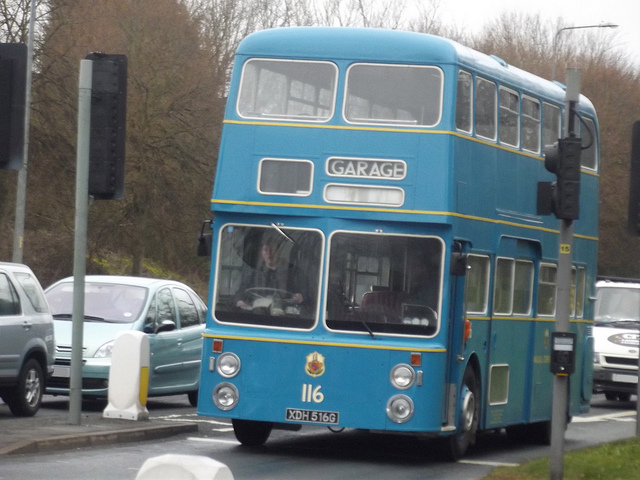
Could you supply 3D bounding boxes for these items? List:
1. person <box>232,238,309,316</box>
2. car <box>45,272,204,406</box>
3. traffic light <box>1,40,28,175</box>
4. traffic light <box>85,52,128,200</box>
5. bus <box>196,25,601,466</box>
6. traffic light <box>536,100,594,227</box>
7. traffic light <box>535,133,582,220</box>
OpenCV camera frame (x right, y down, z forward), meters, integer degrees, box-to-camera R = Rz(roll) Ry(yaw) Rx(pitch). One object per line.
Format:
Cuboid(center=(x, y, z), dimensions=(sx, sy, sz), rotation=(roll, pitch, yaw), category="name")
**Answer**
Cuboid(center=(-0.624, 0.496, 11.275), dimensions=(0.821, 1.018, 0.795), rotation=(-2, -2, 36), category="person")
Cuboid(center=(-3.539, 1.633, 15.616), dimensions=(2.006, 1.829, 3.585), rotation=(-2, -8, 19), category="car")
Cuboid(center=(-2.797, -1.245, 7.916), dimensions=(0.244, 1.240, 0.493), rotation=(3, -5, -29), category="traffic light")
Cuboid(center=(-3.076, -1.657, 12.489), dimensions=(0.616, 2.184, 0.389), rotation=(1, -4, 2), category="traffic light")
Cuboid(center=(1.121, 0.260, 11.778), dimensions=(2.573, 4.831, 6.359), rotation=(0, -3, 26), category="bus")
Cuboid(center=(2.845, -0.899, 10.021), dimensions=(0.545, 1.440, 0.300), rotation=(2, 19, 17), category="traffic light")
Cuboid(center=(2.790, -0.691, 10.007), dimensions=(0.521, 0.924, 0.334), rotation=(-2, -5, 30), category="traffic light")
